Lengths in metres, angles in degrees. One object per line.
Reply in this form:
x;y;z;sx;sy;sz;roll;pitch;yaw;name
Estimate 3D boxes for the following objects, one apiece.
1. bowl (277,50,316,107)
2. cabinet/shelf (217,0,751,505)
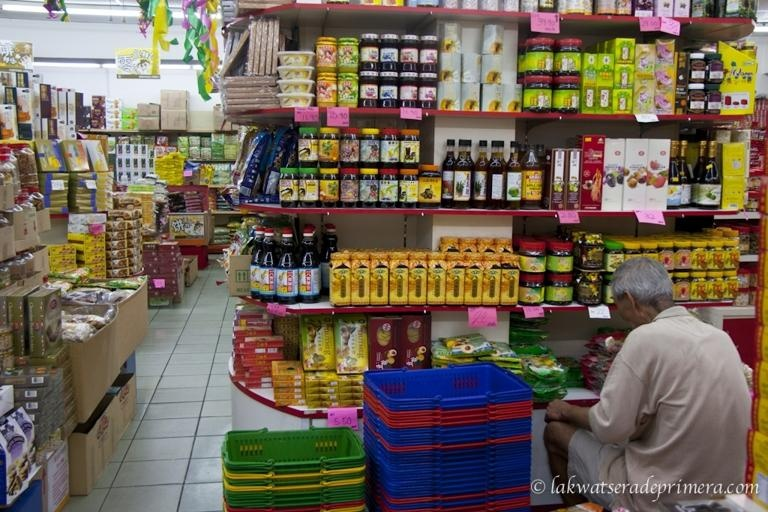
-0.595;-1.192;3.922;0.274;0.379;0.249;-1;13;1;bowl
0.632;-0.099;3.752;3.965;2.866;1.280;-1;16;-4;cabinet/shelf
